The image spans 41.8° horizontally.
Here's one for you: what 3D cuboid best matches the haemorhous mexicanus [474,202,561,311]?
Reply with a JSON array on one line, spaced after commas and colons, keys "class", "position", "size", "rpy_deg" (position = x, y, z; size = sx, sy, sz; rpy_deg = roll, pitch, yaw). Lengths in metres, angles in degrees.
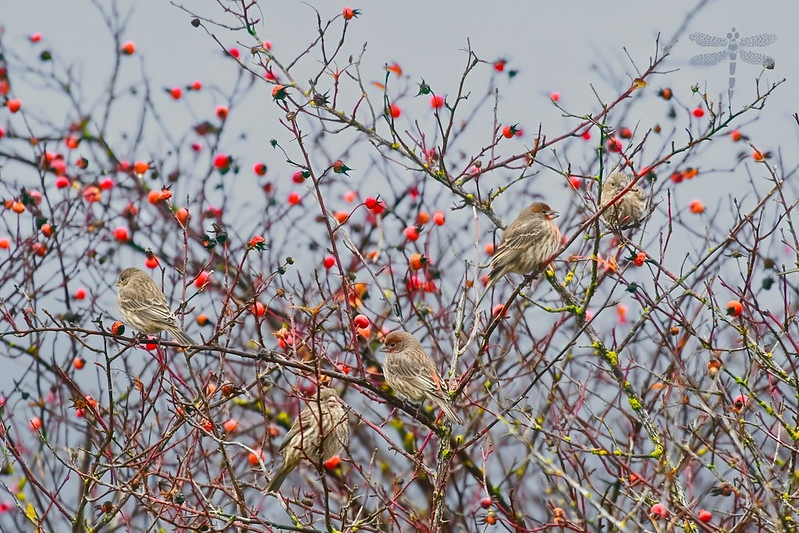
[{"class": "haemorhous mexicanus", "position": [1.236, -0.112, 10.673], "size": [0.916, 1.228, 0.423], "rpy_deg": [1, -3, 2]}]
